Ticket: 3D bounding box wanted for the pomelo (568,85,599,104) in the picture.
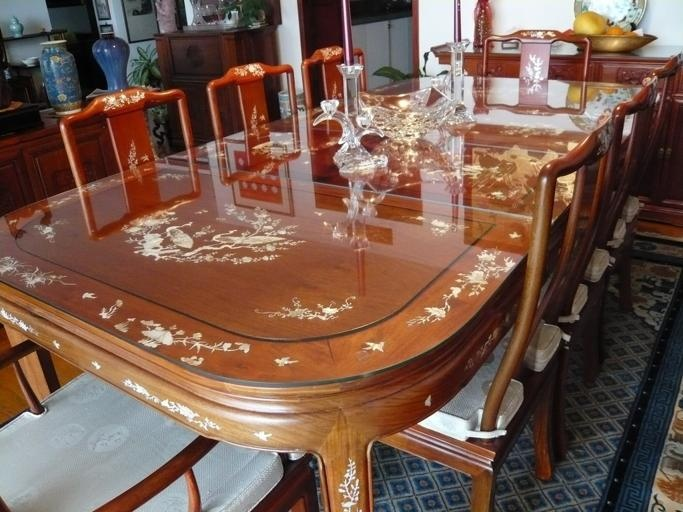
[{"bbox_3d":[1.117,-0.745,2.287,0.117,0.075,0.138,-3,39,25],"label":"pomelo"}]
